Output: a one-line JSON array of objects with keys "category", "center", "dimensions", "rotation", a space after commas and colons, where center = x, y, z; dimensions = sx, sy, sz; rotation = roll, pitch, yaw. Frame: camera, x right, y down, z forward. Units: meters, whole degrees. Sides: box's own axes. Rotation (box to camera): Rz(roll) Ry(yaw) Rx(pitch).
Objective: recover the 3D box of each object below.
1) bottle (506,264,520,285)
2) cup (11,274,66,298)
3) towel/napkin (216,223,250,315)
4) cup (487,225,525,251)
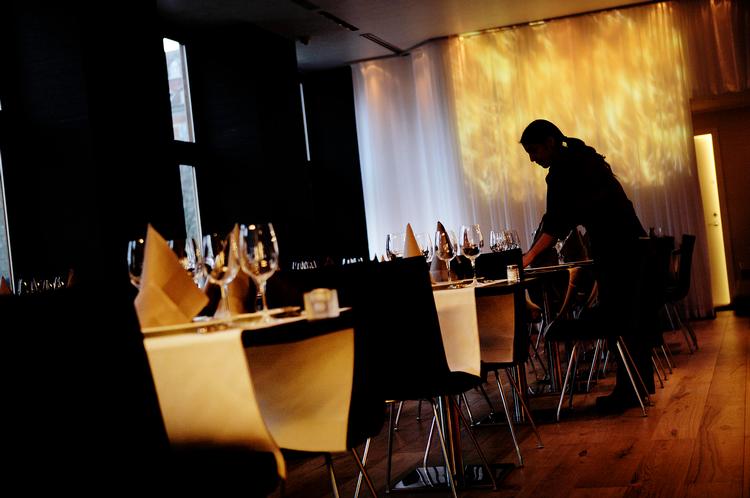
[{"category": "bottle", "center": [0.748, 0.124, 3.137], "dimensions": [0.078, 0.104, 0.085], "rotation": [0, -6, 0]}, {"category": "cup", "center": [-1.817, 0.185, 3.189], "dimensions": [0.166, 0.119, 0.116], "rotation": [4, 9, 19]}, {"category": "towel/napkin", "center": [-0.504, 0.083, 2.113], "dimensions": [0.089, 0.095, 0.364], "rotation": [-1, -33, -5]}, {"category": "cup", "center": [1.219, -0.120, 5.429], "dimensions": [0.259, 0.314, 0.274], "rotation": [-2, -8, 0]}]
